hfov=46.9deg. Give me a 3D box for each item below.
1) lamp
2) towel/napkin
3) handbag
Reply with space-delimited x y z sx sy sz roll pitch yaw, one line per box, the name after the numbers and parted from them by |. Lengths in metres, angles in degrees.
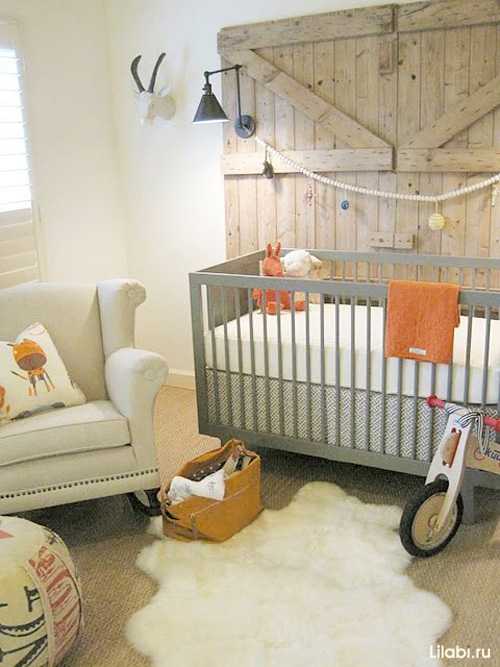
-0.124 -1.157 2.886 0.175 0.352 0.361 15 25 42 | lamp
0.552 -0.051 1.894 0.264 0.266 0.098 11 16 32 | towel/napkin
-0.112 0.583 2.079 0.247 0.255 0.388 16 28 42 | handbag
